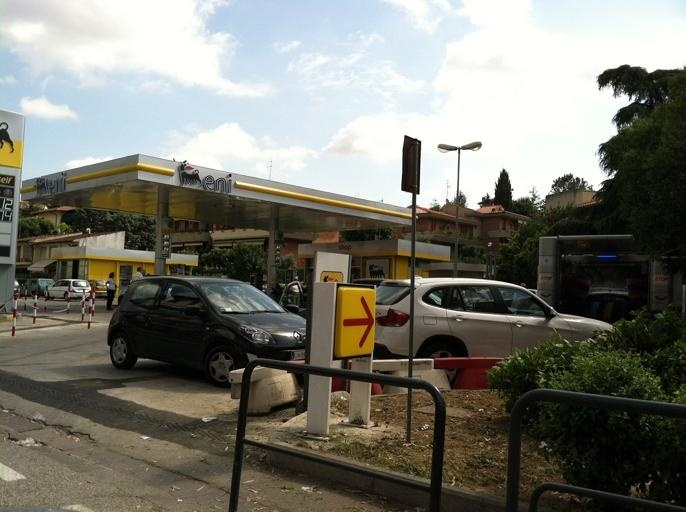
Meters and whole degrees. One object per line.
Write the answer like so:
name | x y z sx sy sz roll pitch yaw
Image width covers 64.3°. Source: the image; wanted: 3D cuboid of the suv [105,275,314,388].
suv | -2.417 1.334 10.115 4.157 1.875 1.306 1 -3 34

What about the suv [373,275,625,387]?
suv | 2.697 1.172 9.504 4.043 1.447 1.821 1 -3 -15
